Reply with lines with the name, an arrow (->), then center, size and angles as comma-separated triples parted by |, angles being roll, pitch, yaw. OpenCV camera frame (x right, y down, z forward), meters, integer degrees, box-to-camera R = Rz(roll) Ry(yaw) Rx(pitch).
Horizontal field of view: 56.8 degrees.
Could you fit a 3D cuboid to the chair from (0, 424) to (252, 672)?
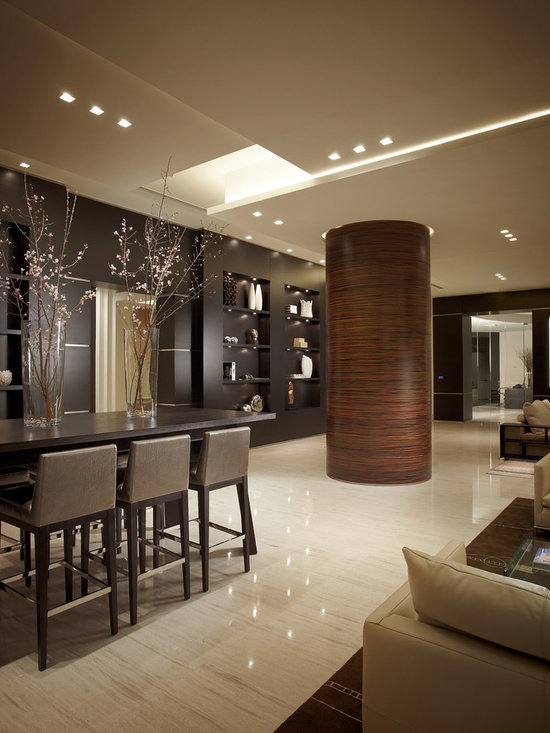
chair -> -0.863, 0.802, 2.496 | 0.437, 0.886, 0.851 | 0, 0, 35
